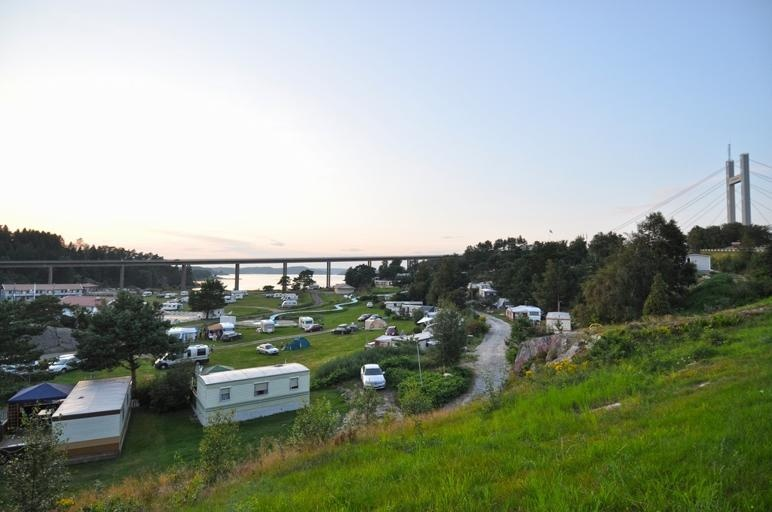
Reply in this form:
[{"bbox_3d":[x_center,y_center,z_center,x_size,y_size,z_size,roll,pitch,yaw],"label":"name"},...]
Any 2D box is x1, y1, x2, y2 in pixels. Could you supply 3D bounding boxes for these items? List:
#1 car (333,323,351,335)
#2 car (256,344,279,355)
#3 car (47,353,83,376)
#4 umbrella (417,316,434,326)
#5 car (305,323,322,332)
[{"bbox_3d":[-5.273,8.994,71.039,2.115,0.956,1.522,0,-4,-15],"label":"car"},{"bbox_3d":[-11.899,9.383,58.512,0.990,0.653,2.038,3,-8,-40],"label":"car"},{"bbox_3d":[-27.669,9.497,50.668,2.515,1.903,3.838,0,-11,-8],"label":"car"},{"bbox_3d":[4.859,8.059,72.167,1.440,0.536,2.175,-13,4,24],"label":"umbrella"},{"bbox_3d":[-9.053,9.052,73.423,2.157,0.903,1.771,0,-5,-23],"label":"car"}]
